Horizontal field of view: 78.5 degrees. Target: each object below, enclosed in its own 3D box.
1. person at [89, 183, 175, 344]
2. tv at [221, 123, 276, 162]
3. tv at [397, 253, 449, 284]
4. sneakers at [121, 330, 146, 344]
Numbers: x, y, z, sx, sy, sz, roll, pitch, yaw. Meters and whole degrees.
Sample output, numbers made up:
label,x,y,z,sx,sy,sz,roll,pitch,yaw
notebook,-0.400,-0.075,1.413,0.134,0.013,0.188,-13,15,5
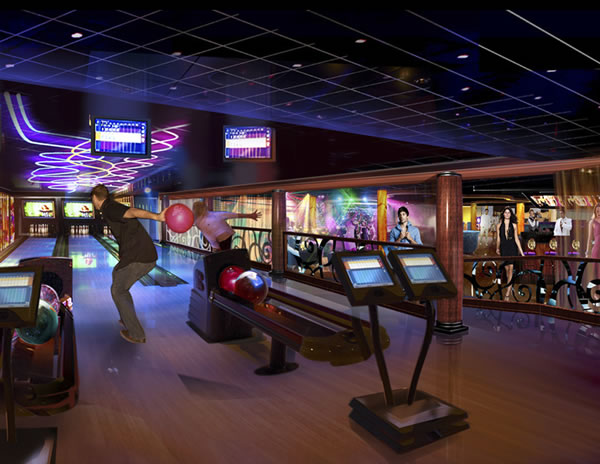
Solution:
label,x,y,z,sx,sy,sz,roll,pitch,yaw
person,-1.732,0.350,3.676,0.620,1.668,0.900,0,-1,-29
tv,-0.887,-1.520,6.309,0.787,0.489,0.075,0,1,-1
tv,0.828,0.236,2.460,0.080,0.270,0.311,17,-6,-16
sneakers,-1.783,1.113,3.942,0.229,0.058,0.165,33,-18,-21
